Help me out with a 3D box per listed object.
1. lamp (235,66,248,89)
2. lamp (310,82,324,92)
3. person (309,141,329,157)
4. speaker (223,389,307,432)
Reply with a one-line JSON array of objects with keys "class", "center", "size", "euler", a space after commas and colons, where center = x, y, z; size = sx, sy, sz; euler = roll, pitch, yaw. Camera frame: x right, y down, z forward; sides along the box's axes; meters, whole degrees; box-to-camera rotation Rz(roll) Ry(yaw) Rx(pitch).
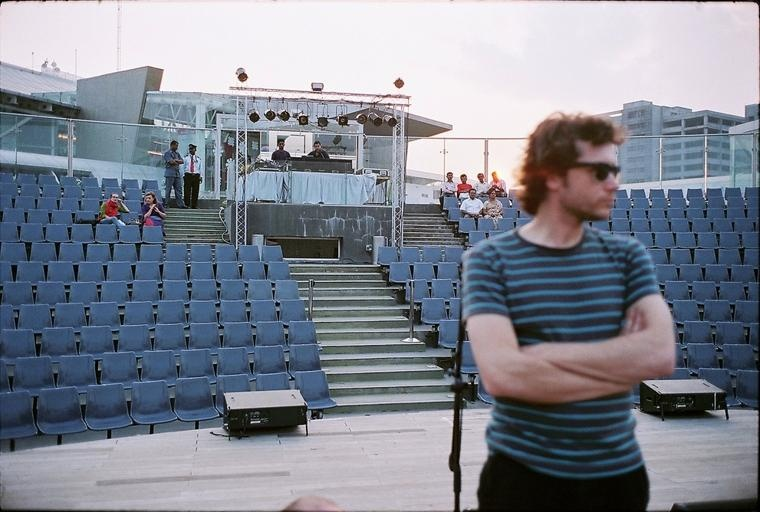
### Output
[{"class": "lamp", "center": [-2.997, -3.911, 17.088], "size": [0.267, 0.326, 0.316], "euler": [0, 1, -6]}, {"class": "lamp", "center": [-1.398, -3.793, 17.763], "size": [0.277, 0.243, 0.260], "euler": [0, 1, -12]}, {"class": "person", "center": [-1.439, -2.536, 18.778], "size": [0.465, 0.555, 0.995], "euler": [0, 1, -4]}, {"class": "speaker", "center": [-1.552, 2.078, 10.688], "size": [1.085, 0.504, 0.378], "euler": [0, 1, -9]}]
